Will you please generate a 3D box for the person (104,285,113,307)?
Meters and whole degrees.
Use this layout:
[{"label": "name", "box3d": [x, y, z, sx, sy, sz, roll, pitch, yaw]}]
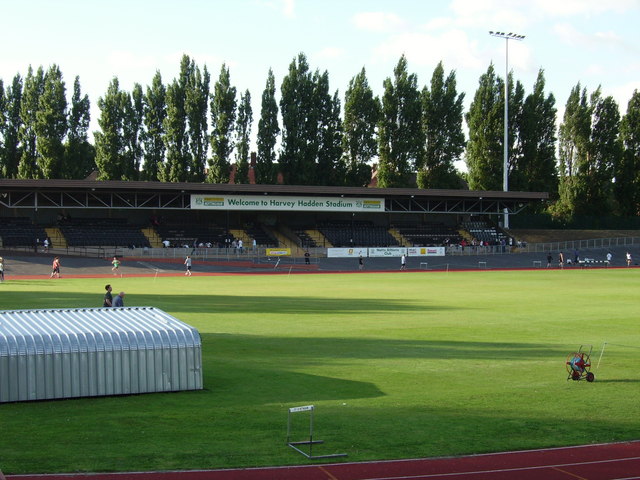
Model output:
[{"label": "person", "box3d": [-11.119, 2.933, 62.167, 0.375, 1.080, 0.882, 0, -2, -15]}]
